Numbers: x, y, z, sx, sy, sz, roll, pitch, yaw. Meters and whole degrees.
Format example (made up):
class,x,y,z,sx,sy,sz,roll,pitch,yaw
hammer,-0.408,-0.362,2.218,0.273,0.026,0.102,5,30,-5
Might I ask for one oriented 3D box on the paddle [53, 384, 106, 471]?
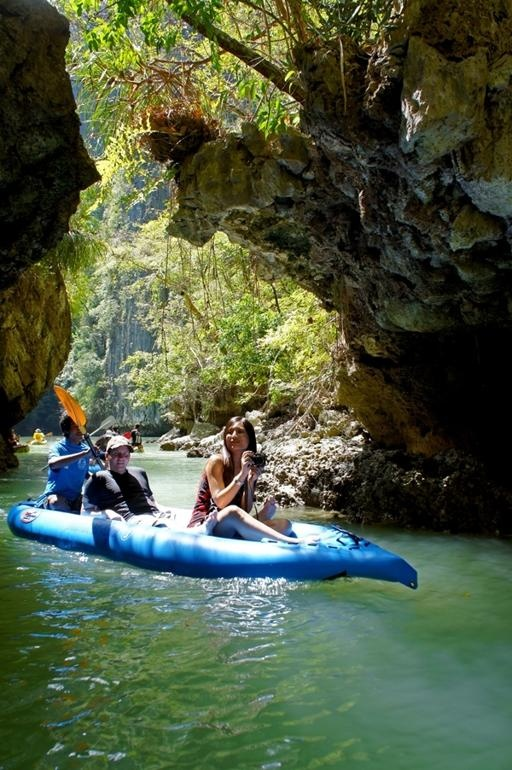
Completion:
class,x,y,z,sx,sy,sz,roll,pitch,yaw
paddle,-1.549,0.534,5.823,0.175,1.304,0.087,-5,35,16

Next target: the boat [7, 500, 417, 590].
class,x,y,z,sx,sy,sz,roll,pitch,yaw
boat,-0.535,1.049,4.122,2.474,0.261,0.834,-2,-8,37

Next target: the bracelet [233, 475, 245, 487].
class,x,y,z,sx,sy,sz,roll,pitch,yaw
bracelet,-0.110,0.628,4.033,0.103,0.039,0.112,-2,1,-1

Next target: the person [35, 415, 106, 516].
class,x,y,z,sx,sy,sz,roll,pitch,yaw
person,-1.556,0.805,5.321,0.540,1.047,0.542,-4,-13,10

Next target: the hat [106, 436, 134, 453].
class,x,y,z,sx,sy,sz,roll,pitch,yaw
hat,-1.054,0.458,4.737,0.126,0.092,0.163,7,-36,-22

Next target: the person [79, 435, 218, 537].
class,x,y,z,sx,sy,sz,roll,pitch,yaw
person,-0.764,0.799,4.633,0.679,0.751,1.383,0,-3,-44
